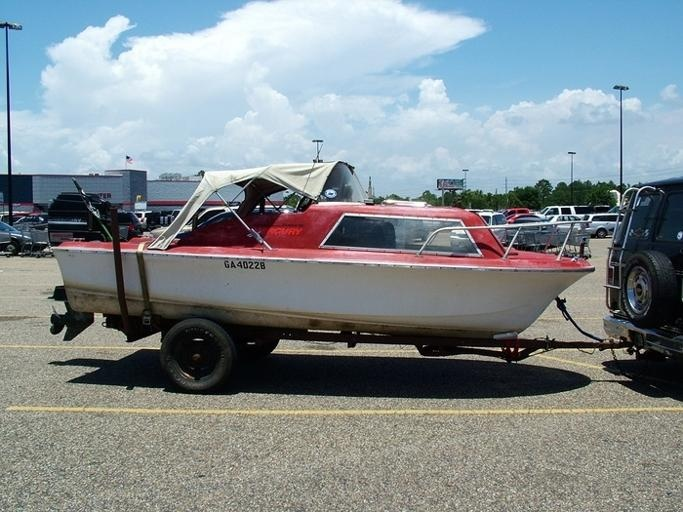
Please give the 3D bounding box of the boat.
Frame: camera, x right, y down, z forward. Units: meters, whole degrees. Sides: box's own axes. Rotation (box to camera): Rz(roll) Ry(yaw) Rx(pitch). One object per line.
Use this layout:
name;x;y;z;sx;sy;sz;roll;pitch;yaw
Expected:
boat;-0.212;0.250;8.290;7.552;1.514;2.320;0;5;9
